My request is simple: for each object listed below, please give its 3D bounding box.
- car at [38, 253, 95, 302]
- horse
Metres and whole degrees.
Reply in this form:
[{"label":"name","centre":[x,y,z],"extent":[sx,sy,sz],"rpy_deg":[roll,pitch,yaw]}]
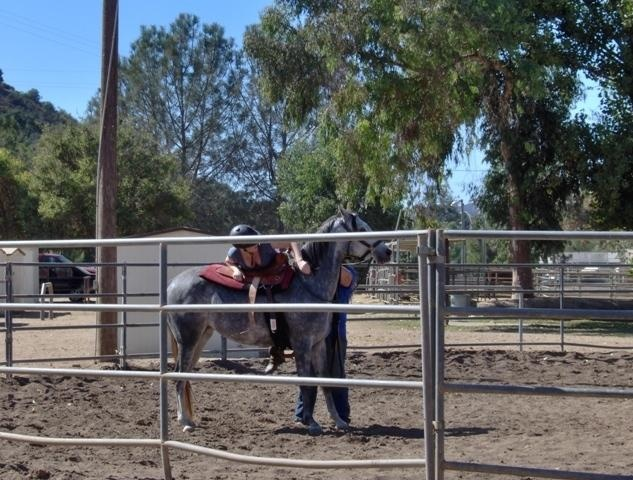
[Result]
[{"label":"car","centre":[-8.955,1.383,37.054],"extent":[2.575,1.583,1.590],"rpy_deg":[-4,3,19]},{"label":"horse","centre":[-0.638,1.740,20.309],"extent":[4.395,4.678,1.546],"rpy_deg":[0,-12,0]}]
